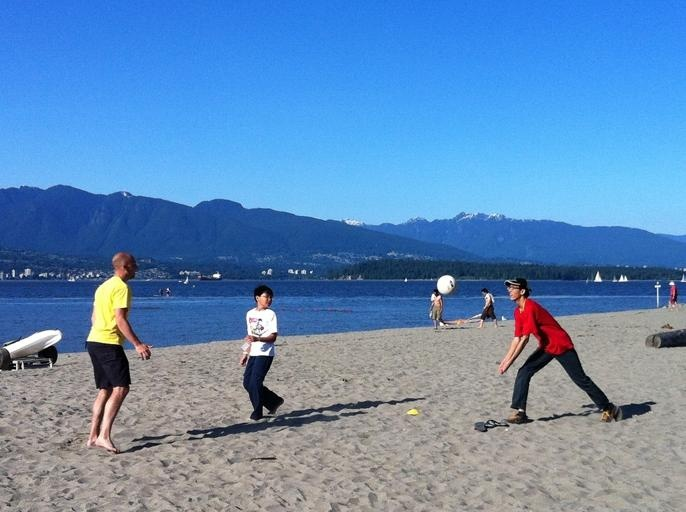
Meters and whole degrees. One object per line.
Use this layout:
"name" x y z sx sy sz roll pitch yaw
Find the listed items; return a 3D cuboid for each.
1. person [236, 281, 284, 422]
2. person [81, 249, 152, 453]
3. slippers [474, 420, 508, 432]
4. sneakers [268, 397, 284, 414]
"person" -1.374 1.659 10.716 0.718 2.331 1.002 2 -2 -8
"person" -3.210 1.370 8.880 0.751 2.874 1.380 2 -3 -21
"slippers" 2.405 2.795 10.449 0.450 0.063 0.200 -5 16 -27
"sneakers" -1.212 2.629 11.116 0.177 0.422 0.144 12 28 -45
